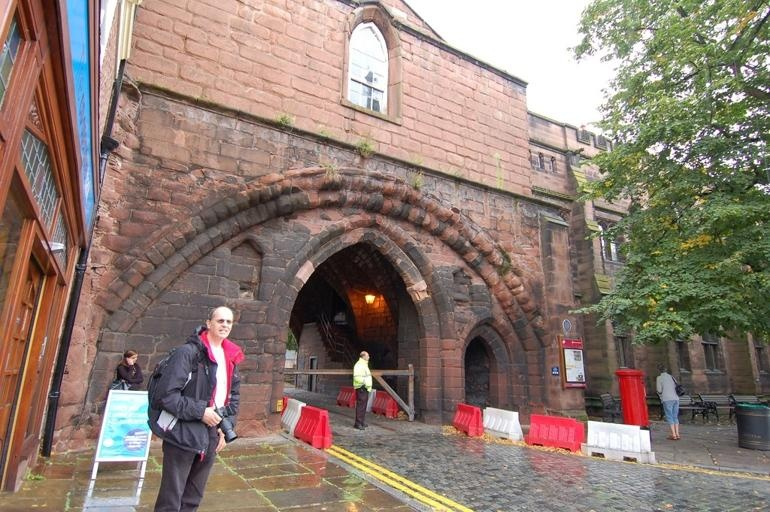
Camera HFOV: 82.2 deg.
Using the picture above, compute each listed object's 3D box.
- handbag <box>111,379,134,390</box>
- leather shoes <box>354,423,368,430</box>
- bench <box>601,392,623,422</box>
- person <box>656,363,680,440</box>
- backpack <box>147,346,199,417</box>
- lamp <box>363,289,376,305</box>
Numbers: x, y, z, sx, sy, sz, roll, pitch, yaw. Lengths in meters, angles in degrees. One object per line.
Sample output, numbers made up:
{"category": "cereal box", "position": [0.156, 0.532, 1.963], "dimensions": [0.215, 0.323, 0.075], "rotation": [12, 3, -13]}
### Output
{"category": "handbag", "position": [-5.302, 2.579, 8.857], "dimensions": [0.496, 0.167, 0.271], "rotation": [-8, -20, 24]}
{"category": "leather shoes", "position": [-0.592, 4.644, 11.979], "dimensions": [0.146, 0.165, 0.445], "rotation": [0, -3, 41]}
{"category": "bench", "position": [7.902, 5.327, 15.408], "dimensions": [0.614, 0.970, 2.663], "rotation": [-8, -20, 23]}
{"category": "person", "position": [7.915, 4.079, 12.255], "dimensions": [0.493, 1.905, 1.092], "rotation": [-11, -22, 30]}
{"category": "backpack", "position": [-2.229, 1.278, 4.576], "dimensions": [0.458, 0.720, 0.205], "rotation": [-6, -20, 16]}
{"category": "lamp", "position": [-0.631, 1.806, 19.055], "dimensions": [0.657, 0.696, 0.560], "rotation": [4, 4, 25]}
